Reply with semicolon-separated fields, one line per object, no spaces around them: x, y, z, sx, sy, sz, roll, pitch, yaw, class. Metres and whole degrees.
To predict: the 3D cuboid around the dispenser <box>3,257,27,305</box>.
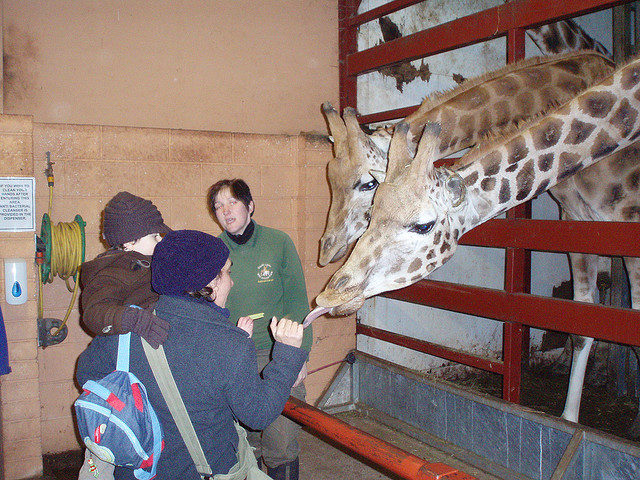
-2.266;0.304;5.061;0.156;0.347;0.068;-3;6;-23;dispenser

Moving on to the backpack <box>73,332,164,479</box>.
-0.986;0.922;3.334;0.398;0.533;0.156;1;6;10;backpack
